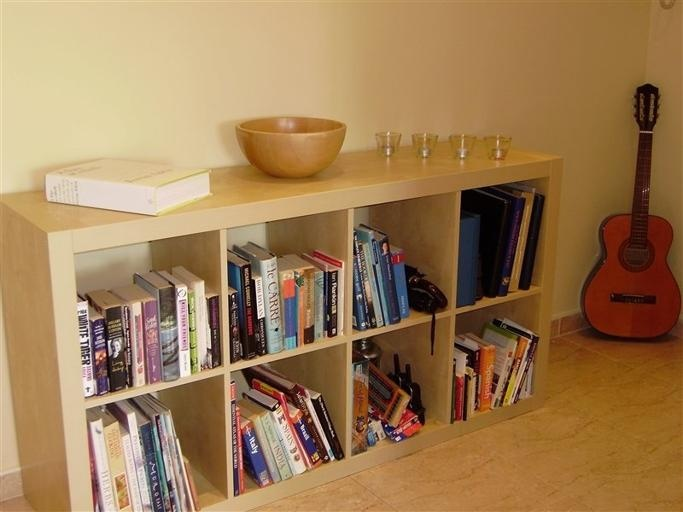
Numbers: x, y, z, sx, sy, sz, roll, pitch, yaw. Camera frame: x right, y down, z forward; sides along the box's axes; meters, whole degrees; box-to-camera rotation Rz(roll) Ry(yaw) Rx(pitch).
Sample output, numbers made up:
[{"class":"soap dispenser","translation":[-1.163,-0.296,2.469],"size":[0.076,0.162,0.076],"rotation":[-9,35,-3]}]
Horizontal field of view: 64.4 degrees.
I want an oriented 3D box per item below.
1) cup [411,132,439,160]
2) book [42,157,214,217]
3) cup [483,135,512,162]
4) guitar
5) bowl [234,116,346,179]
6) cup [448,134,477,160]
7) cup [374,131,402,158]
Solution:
[{"class":"cup","translation":[0.309,-0.415,2.015],"size":[0.086,0.073,0.094],"rotation":[1,13,0]},{"class":"book","translation":[-0.644,-0.206,1.562],"size":[0.463,0.130,0.287],"rotation":[6,19,30]},{"class":"cup","translation":[0.584,-0.410,2.059],"size":[0.098,0.075,0.094],"rotation":[-1,17,0]},{"class":"guitar","translation":[1.442,-0.197,2.648],"size":[0.448,1.228,0.325],"rotation":[-12,18,-27]},{"class":"bowl","translation":[-0.154,-0.361,1.788],"size":[0.343,0.193,0.302],"rotation":[1,17,15]},{"class":"cup","translation":[0.459,-0.416,2.065],"size":[0.090,0.075,0.095],"rotation":[-1,11,0]},{"class":"cup","translation":[0.179,-0.423,2.037],"size":[0.096,0.076,0.095],"rotation":[0,14,0]}]
